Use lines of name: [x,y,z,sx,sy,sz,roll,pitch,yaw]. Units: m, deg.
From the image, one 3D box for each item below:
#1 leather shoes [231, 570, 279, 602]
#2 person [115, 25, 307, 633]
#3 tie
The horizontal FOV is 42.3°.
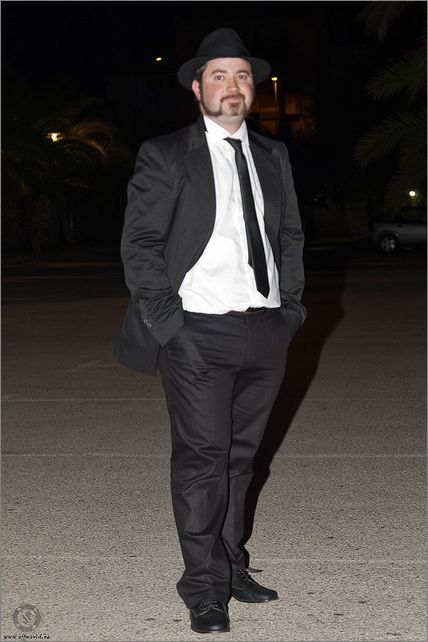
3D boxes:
leather shoes: [0.123,0.946,1.945,0.079,0.075,0.207,1,-5,-35]
person: [0.031,-0.016,1.870,0.686,2.004,0.371,2,-5,-34]
tie: [0.119,-0.343,1.767,0.076,0.556,0.062,1,-24,-27]
